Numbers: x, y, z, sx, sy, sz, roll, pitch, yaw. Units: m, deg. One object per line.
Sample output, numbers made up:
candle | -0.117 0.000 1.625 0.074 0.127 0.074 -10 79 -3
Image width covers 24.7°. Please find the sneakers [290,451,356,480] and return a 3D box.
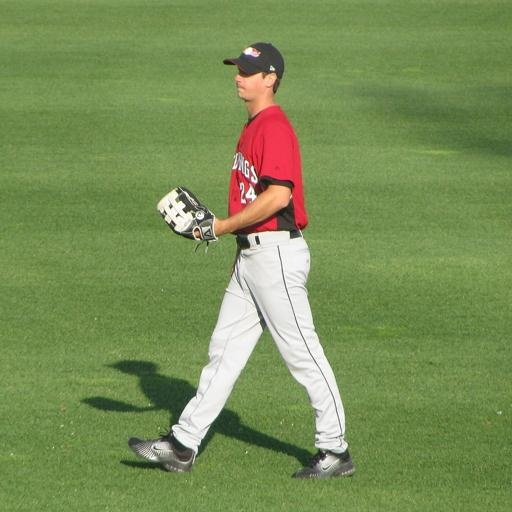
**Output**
sneakers | 0.497 1.584 8.789 0.477 0.280 0.187 -2 -1 -5

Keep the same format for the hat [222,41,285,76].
hat | -0.007 -1.447 8.743 0.356 0.238 0.255 20 8 -18
